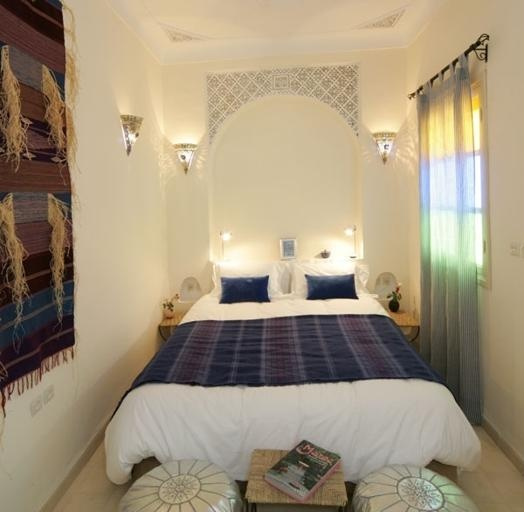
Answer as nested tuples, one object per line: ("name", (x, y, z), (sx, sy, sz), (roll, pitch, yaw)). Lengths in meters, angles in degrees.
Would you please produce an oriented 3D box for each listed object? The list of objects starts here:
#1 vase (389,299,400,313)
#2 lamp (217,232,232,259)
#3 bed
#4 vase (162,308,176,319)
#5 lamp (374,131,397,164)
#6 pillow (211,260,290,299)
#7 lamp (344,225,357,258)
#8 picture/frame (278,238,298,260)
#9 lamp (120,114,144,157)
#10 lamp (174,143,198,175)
("vase", (1.391, 0.530, 3.959), (0.118, 0.158, 0.117), (-1, 3, -42))
("lamp", (-0.437, -0.116, 4.412), (0.141, 0.327, 0.130), (-1, 12, -3))
("bed", (0.226, 0.833, 2.802), (2.051, 0.526, 1.743), (0, 13, 3))
("vase", (-1.025, 0.626, 4.113), (0.101, 0.113, 0.103), (-2, 1, -35))
("lamp", (1.344, -1.171, 4.127), (0.261, 0.391, 0.257), (-3, 10, 3))
("pillow", (-0.024, 0.267, 4.124), (0.538, 0.485, 0.152), (-1, -8, -7))
("lamp", (1.036, -0.172, 4.338), (0.148, 0.333, 0.126), (2, 12, 14))
("picture/frame", (0.308, -0.085, 4.358), (0.207, 0.334, 0.030), (0, -2, -5))
("lamp", (-1.130, -1.035, 3.238), (0.236, 0.352, 0.261), (2, 2, 5))
("lamp", (-0.859, -1.085, 4.272), (0.280, 0.369, 0.252), (-1, 5, 1))
